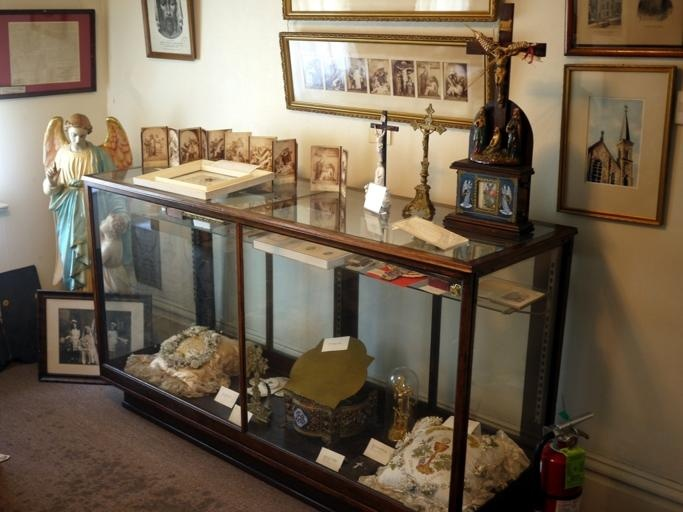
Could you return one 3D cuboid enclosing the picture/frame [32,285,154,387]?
[{"bbox_3d":[-1.355,0.437,3.119,0.538,0.440,0.026,0,2,5],"label":"picture/frame"}]
